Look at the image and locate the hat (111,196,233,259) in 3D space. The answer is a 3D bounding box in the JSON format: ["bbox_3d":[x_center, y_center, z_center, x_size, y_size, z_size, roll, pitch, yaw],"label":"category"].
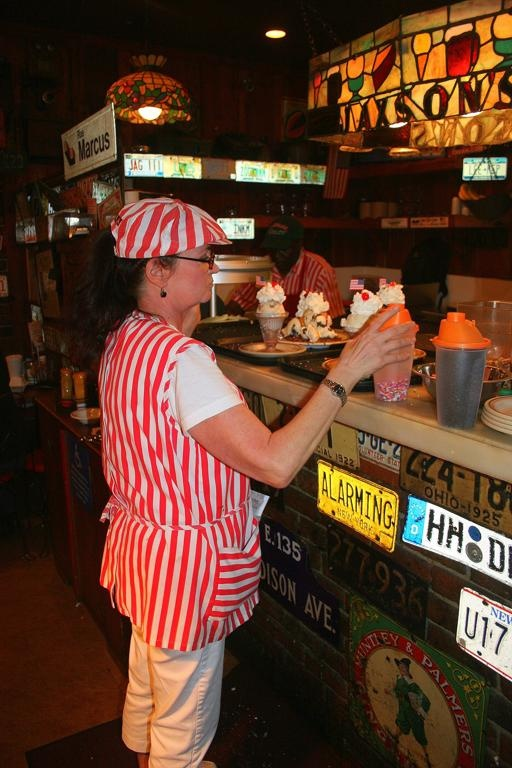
[{"bbox_3d":[-0.168,-0.294,1.049,0.162,0.065,0.157,2,26,-8],"label":"hat"}]

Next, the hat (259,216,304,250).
[{"bbox_3d":[0.196,-1.133,4.141,0.215,0.166,0.301,12,26,35],"label":"hat"}]

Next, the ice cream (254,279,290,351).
[{"bbox_3d":[0.047,-0.196,1.689,0.104,0.212,0.104,-5,12,-20],"label":"ice cream"}]

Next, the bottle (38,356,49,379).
[{"bbox_3d":[-1.518,-0.114,3.928,0.066,0.170,0.199,-5,10,-21],"label":"bottle"}]

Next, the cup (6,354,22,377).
[{"bbox_3d":[-1.637,-0.115,3.749,0.099,0.138,0.157,-5,10,-23],"label":"cup"}]

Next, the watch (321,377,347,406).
[{"bbox_3d":[0.134,0.011,0.962,0.040,0.017,0.040,38,13,-52],"label":"watch"}]

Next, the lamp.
[{"bbox_3d":[-0.670,-1.963,3.663,0.446,0.299,0.459,0,31,22],"label":"lamp"}]

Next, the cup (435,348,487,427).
[{"bbox_3d":[0.353,0.009,0.959,0.077,0.145,0.076,-1,9,0],"label":"cup"}]

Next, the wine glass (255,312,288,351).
[{"bbox_3d":[0.061,-0.162,1.697,0.097,0.109,0.103,1,2,9],"label":"wine glass"}]

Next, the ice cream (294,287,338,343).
[{"bbox_3d":[0.199,-0.217,1.806,0.137,0.155,0.131,-8,20,-31],"label":"ice cream"}]

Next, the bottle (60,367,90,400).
[{"bbox_3d":[-0.925,0.002,2.781,0.149,0.171,0.155,2,0,-4],"label":"bottle"}]

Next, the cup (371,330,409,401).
[{"bbox_3d":[0.289,-0.018,1.187,0.081,0.110,0.088,0,9,0],"label":"cup"}]
